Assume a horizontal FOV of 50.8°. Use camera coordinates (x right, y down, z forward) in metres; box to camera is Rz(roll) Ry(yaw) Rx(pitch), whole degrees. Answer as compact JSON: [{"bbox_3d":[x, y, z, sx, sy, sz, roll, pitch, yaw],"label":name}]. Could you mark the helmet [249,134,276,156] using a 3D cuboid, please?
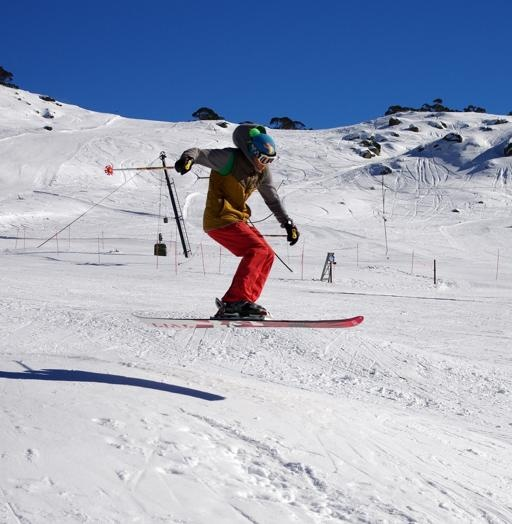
[{"bbox_3d":[0.065,-1.034,4.741,0.247,0.193,0.193,12,4,-2],"label":"helmet"}]
